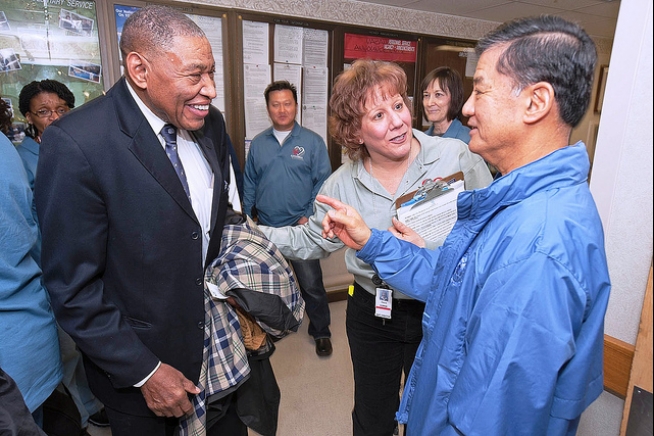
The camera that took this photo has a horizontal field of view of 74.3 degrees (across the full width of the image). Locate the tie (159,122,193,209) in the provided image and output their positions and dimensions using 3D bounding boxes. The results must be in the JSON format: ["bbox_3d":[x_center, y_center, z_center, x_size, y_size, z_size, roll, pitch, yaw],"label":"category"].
[{"bbox_3d":[-0.612,-0.250,1.741,0.073,0.440,0.054,-8,-18,-27],"label":"tie"}]
